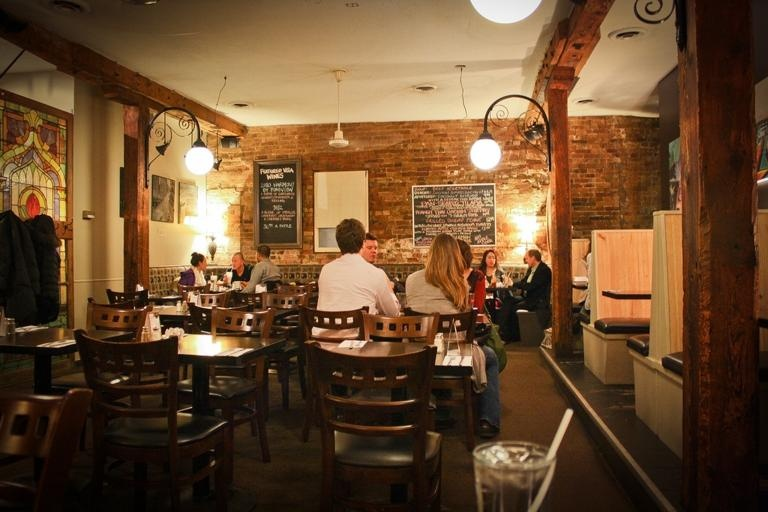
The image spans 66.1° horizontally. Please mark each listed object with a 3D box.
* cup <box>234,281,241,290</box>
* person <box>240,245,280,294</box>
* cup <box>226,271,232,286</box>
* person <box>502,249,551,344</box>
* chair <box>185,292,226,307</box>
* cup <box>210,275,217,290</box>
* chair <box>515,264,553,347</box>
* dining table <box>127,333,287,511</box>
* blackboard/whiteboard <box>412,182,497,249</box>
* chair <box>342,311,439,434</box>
[{"bbox_3d":[-1.930,0.392,7.775,0.106,0.097,0.088,5,7,42],"label":"cup"},{"bbox_3d":[-1.699,0.302,8.269,0.492,0.855,0.539,4,7,29],"label":"person"},{"bbox_3d":[-2.366,0.342,9.010,0.127,0.200,0.407,-2,2,-15],"label":"cup"},{"bbox_3d":[2.157,0.593,8.914,0.816,1.331,0.611,-4,10,7],"label":"person"},{"bbox_3d":[-1.796,0.439,5.995,0.267,0.189,0.261,1,2,4],"label":"chair"},{"bbox_3d":[-2.450,0.392,8.503,0.105,0.182,0.102,0,1,0],"label":"cup"},{"bbox_3d":[2.214,0.670,8.732,0.491,1.159,0.686,-1,2,14],"label":"chair"},{"bbox_3d":[-1.143,1.123,4.324,1.099,1.003,1.079,-1,-3,16],"label":"dining table"},{"bbox_3d":[1.228,-0.685,9.709,1.257,0.877,0.042,0,-2,4],"label":"blackboard/whiteboard"},{"bbox_3d":[0.155,0.760,4.440,0.596,0.926,0.653,-1,-17,6],"label":"chair"}]
